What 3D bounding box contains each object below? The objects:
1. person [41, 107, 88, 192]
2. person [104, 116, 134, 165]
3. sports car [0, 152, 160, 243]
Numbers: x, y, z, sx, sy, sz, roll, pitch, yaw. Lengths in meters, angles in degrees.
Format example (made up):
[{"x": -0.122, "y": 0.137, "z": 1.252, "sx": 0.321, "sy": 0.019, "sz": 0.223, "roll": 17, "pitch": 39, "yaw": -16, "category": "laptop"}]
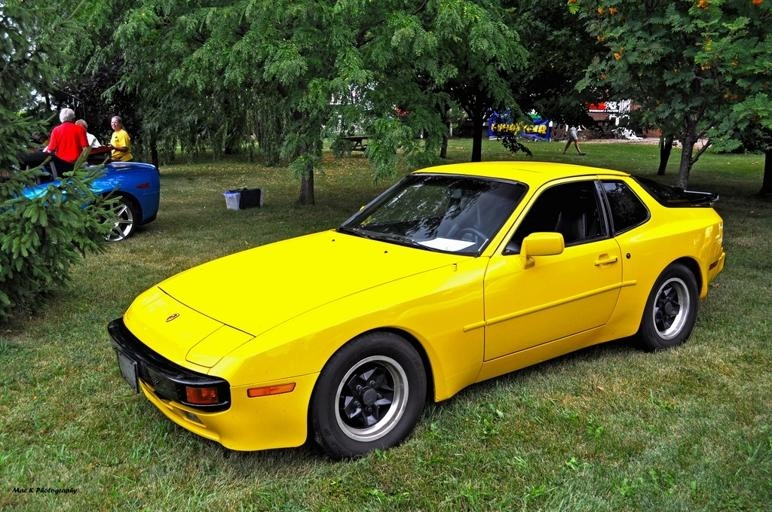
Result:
[{"x": -6.069, "y": -1.861, "z": 10.378, "sx": 0.503, "sy": 1.781, "sz": 0.765, "roll": 21, "pitch": 22, "yaw": 24, "category": "person"}, {"x": -6.709, "y": -2.690, "z": 13.567, "sx": 0.696, "sy": 1.290, "sz": 0.746, "roll": 2, "pitch": 8, "yaw": 17, "category": "person"}, {"x": -5.380, "y": -1.016, "z": 10.123, "sx": 1.499, "sy": 0.832, "sz": 2.769, "roll": 18, "pitch": 20, "yaw": 40, "category": "sports car"}]
